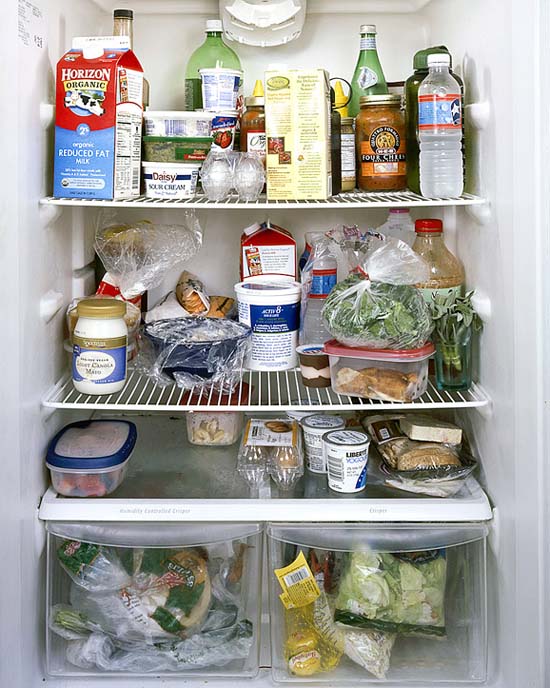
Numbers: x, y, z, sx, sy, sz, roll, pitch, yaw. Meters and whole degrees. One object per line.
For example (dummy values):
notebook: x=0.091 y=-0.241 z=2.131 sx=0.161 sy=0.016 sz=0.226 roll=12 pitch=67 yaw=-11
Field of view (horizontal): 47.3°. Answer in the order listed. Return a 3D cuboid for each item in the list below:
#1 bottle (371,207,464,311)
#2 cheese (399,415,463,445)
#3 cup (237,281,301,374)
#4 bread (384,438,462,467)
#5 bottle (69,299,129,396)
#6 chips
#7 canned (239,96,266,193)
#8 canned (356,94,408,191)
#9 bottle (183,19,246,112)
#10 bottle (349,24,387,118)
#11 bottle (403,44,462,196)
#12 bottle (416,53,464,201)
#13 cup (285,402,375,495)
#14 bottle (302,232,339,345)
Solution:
bottle: x=0.293 y=-0.166 z=1.267 sx=0.191 sy=0.260 sz=0.153 roll=9 pitch=27 yaw=32
cheese: x=0.346 y=0.172 z=1.368 sx=0.111 sy=0.052 sz=0.099 roll=-10 pitch=17 yaw=-21
cup: x=-0.016 y=-0.033 z=1.308 sx=0.136 sy=0.172 sz=0.079 roll=0 pitch=12 yaw=1
bread: x=0.302 y=0.236 z=1.314 sx=0.161 sy=0.047 sz=0.097 roll=2 pitch=13 yaw=9
bottle: x=-0.334 y=0.010 z=1.209 sx=0.100 sy=0.190 sz=0.110 roll=2 pitch=13 yaw=10
chips: x=0.219 y=0.463 z=1.176 sx=0.179 sy=0.157 sz=0.061 roll=2 pitch=0 yaw=-5
canned: x=-0.047 y=-0.443 z=1.313 sx=0.050 sy=0.146 sz=0.080 roll=-1 pitch=12 yaw=-5
canned: x=0.219 y=-0.413 z=1.296 sx=0.104 sy=0.183 sz=0.049 roll=1 pitch=12 yaw=7
bottle: x=-0.152 y=-0.630 z=1.464 sx=0.126 sy=0.210 sz=0.130 roll=-2 pitch=20 yaw=1
bottle: x=0.193 y=-0.606 z=1.409 sx=0.089 sy=0.207 sz=0.082 roll=-2 pitch=24 yaw=1
bottle: x=0.344 y=-0.435 z=1.276 sx=0.120 sy=0.296 sz=0.119 roll=-8 pitch=21 yaw=3
bottle: x=0.309 y=-0.402 z=1.166 sx=0.087 sy=0.262 sz=0.069 roll=4 pitch=13 yaw=16
cup: x=0.110 y=0.220 z=1.295 sx=0.108 sy=0.099 sz=0.163 roll=-10 pitch=16 yaw=-25
bottle: x=0.100 y=-0.122 z=1.378 sx=0.082 sy=0.229 sz=0.172 roll=1 pitch=13 yaw=6
